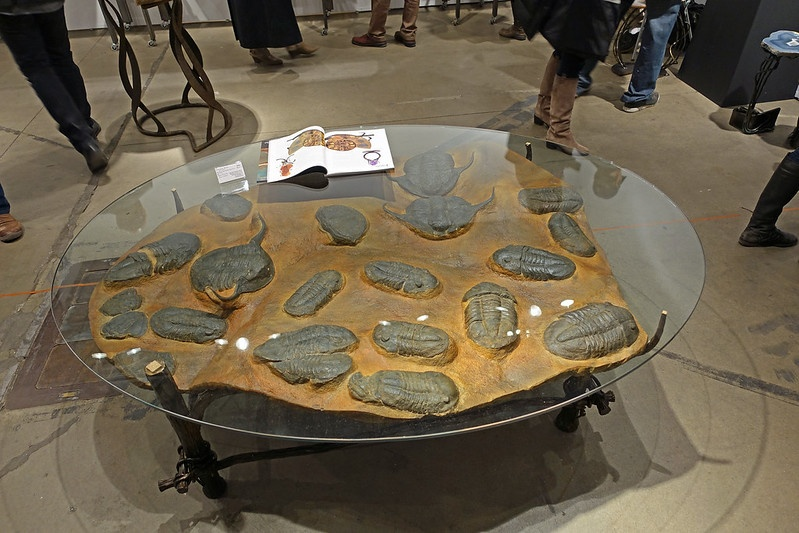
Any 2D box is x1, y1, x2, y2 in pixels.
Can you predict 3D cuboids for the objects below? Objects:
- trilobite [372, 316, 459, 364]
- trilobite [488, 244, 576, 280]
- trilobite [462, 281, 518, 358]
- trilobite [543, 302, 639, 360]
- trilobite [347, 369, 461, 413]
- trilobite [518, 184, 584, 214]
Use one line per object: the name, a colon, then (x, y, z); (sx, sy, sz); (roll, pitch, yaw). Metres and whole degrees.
trilobite: (0.062, 0.337, 2.199); (0.367, 0.088, 0.150); (7, 40, 10)
trilobite: (0.646, -0.011, 2.432); (0.322, 0.073, 0.170); (6, 53, 12)
trilobite: (0.410, 0.237, 2.263); (0.242, 0.134, 0.343); (1, 39, 3)
trilobite: (0.856, 0.275, 2.240); (0.445, 0.083, 0.276); (-16, 50, -10)
trilobite: (0.016, 0.521, 2.083); (0.453, 0.091, 0.152); (1, 39, 2)
trilobite: (0.808, -0.357, 2.702); (0.286, 0.056, 0.154); (0, 48, 0)
